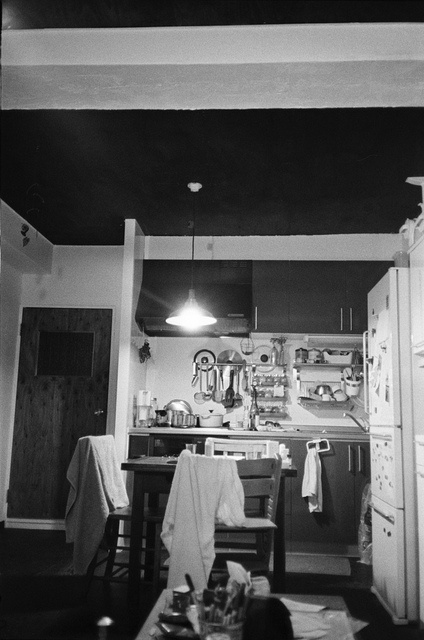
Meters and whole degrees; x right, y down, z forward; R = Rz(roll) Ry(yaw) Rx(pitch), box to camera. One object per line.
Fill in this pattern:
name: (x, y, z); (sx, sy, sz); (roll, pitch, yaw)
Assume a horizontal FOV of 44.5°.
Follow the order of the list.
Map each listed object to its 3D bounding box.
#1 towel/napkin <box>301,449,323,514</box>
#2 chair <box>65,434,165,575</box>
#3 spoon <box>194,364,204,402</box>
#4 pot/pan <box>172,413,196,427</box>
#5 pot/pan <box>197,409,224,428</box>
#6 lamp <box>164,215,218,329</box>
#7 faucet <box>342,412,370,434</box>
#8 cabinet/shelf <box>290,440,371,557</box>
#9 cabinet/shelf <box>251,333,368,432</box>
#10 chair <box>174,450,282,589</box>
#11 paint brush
towel/napkin: (0.776, 1.230, 3.976); (0.162, 0.489, 0.188); (0, -9, 5)
chair: (-0.641, 0.969, 2.832); (0.181, 0.621, 0.520); (6, -5, 6)
spoon: (-0.121, 0.633, 4.990); (0.092, 0.346, 0.040); (1, -9, -1)
pot/pan: (-0.248, 0.884, 4.565); (0.201, 0.134, 0.206); (3, -12, -6)
pot/pan: (-0.005, 0.908, 4.669); (0.215, 0.118, 0.217); (2, -12, -2)
lamp: (-0.158, -0.422, 4.450); (0.422, 1.081, 1.194); (1, -11, -3)
faucet: (1.335, 0.929, 4.760); (0.247, 0.177, 0.143); (-9, -14, 41)
cabinet/shelf: (0.857, 1.438, 4.335); (0.772, 1.203, 0.688); (-1, -21, 6)
cabinet/shelf: (0.947, 0.568, 4.898); (0.987, 0.857, 0.338); (-4, -10, 23)
chair: (0.043, 0.762, 2.156); (0.313, 0.602, 0.417); (0, -7, 10)
paint brush: (0.014, 0.568, 1.043); (0.111, 0.069, 0.154); (1, -12, 4)
